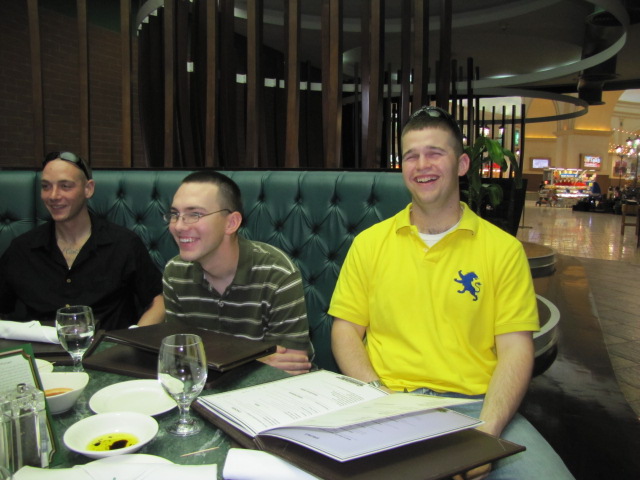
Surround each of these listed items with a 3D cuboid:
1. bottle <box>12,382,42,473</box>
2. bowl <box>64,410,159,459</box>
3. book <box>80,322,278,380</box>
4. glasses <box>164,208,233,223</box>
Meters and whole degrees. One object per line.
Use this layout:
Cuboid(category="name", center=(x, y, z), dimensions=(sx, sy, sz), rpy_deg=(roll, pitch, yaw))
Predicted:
Cuboid(category="bottle", center=(-0.678, 0.434, 1.170), dimensions=(0.064, 0.177, 0.074), rpy_deg=(-4, 11, -28))
Cuboid(category="bowl", center=(-0.509, 0.482, 1.221), dimensions=(0.218, 0.064, 0.144), rpy_deg=(0, 10, -13))
Cuboid(category="book", center=(-0.468, 0.357, 1.609), dimensions=(0.327, 0.079, 0.260), rpy_deg=(6, 9, 28))
Cuboid(category="glasses", center=(-0.499, -0.098, 2.092), dimensions=(0.246, 0.063, 0.091), rpy_deg=(0, 10, -9))
